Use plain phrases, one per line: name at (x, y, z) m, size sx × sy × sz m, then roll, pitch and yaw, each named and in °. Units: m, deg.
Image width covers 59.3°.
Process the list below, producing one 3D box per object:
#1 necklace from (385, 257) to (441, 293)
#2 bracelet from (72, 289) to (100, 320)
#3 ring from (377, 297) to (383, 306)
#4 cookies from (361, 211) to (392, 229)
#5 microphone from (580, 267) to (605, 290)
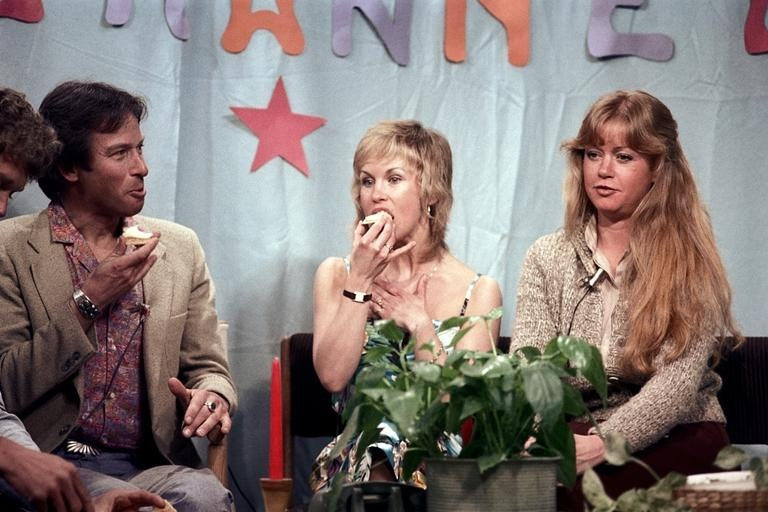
necklace at (0.092, 0.069, 2.407) m, size 0.131 × 0.142 × 0.040 m, roll 1°, pitch -21°, yaw 5°
bracelet at (-0.960, 0.151, 2.169) m, size 0.047 × 0.073 × 0.064 m, roll -36°, pitch 17°, yaw 3°
ring at (-0.015, 0.155, 2.325) m, size 0.018 × 0.027 × 0.008 m, roll -3°, pitch -17°, yaw 4°
cookies at (-0.026, -0.128, 2.301) m, size 0.102 × 0.070 × 0.127 m, roll 1°, pitch -4°, yaw 0°
microphone at (0.730, 0.076, 2.356) m, size 0.064 × 0.067 × 0.022 m, roll -28°, pitch -34°, yaw 18°
